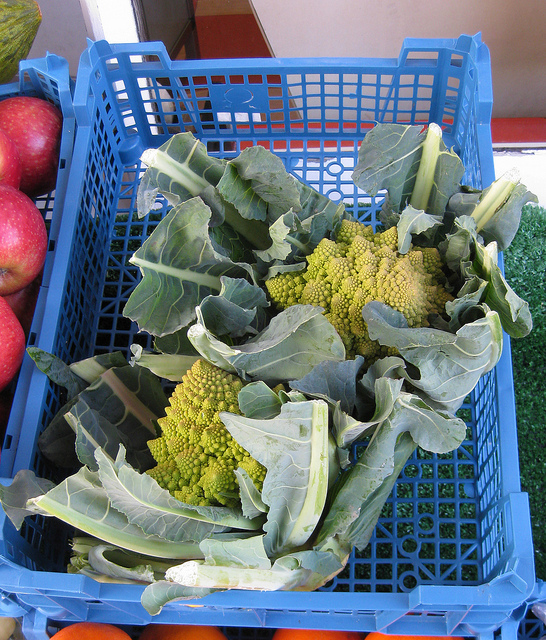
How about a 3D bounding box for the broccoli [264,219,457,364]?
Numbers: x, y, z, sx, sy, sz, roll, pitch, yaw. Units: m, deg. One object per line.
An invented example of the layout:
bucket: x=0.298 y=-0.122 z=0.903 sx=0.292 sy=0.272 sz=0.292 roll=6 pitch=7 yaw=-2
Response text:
broccoli: x=0.147 y=-0.018 z=0.863 sx=0.097 sy=0.190 sz=0.175 roll=-38 pitch=105 yaw=-31
